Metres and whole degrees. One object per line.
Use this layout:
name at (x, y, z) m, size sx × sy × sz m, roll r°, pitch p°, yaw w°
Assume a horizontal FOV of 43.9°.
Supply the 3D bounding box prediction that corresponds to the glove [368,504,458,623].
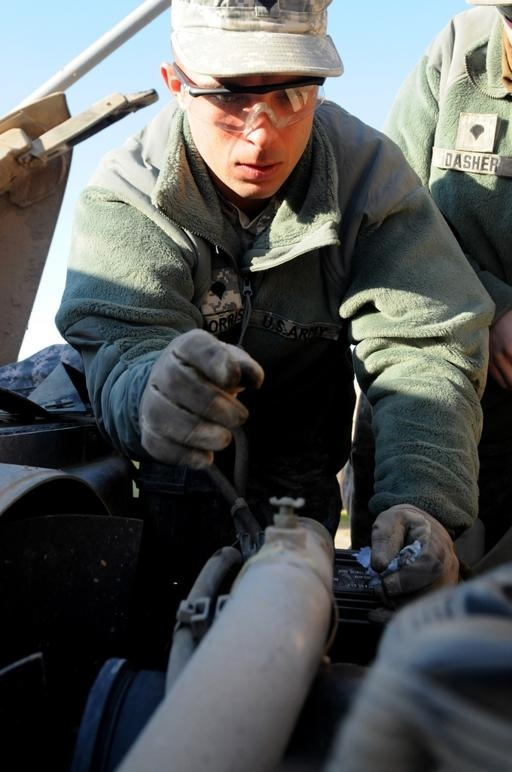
glove at (0.357, 0.371, 1.401) m, size 0.208 × 0.260 × 0.266 m, roll -6°, pitch 54°, yaw 5°
